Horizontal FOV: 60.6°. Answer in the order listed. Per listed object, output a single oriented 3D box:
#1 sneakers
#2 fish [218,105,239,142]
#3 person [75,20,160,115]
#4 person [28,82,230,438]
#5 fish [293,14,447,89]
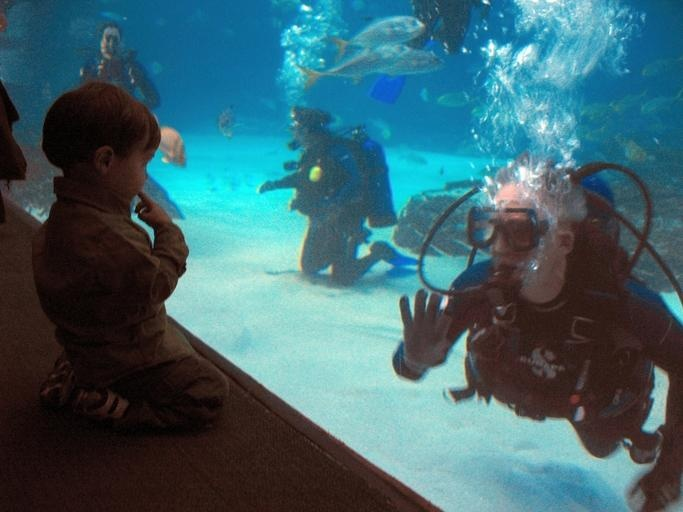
[{"bbox_3d":[-1.081,0.588,2.497,0.374,0.171,0.228,19,20,-4],"label":"sneakers"},{"bbox_3d":[-1.320,-1.525,6.760,0.090,0.266,0.330,0,54,-36],"label":"fish"},{"bbox_3d":[-2.510,-2.018,6.508,0.996,0.936,0.539,4,12,-1],"label":"person"},{"bbox_3d":[-0.857,0.022,2.397,0.763,1.377,0.358,2,18,-11],"label":"person"},{"bbox_3d":[0.070,-1.487,4.300,1.347,0.551,0.268,5,35,32],"label":"fish"}]
